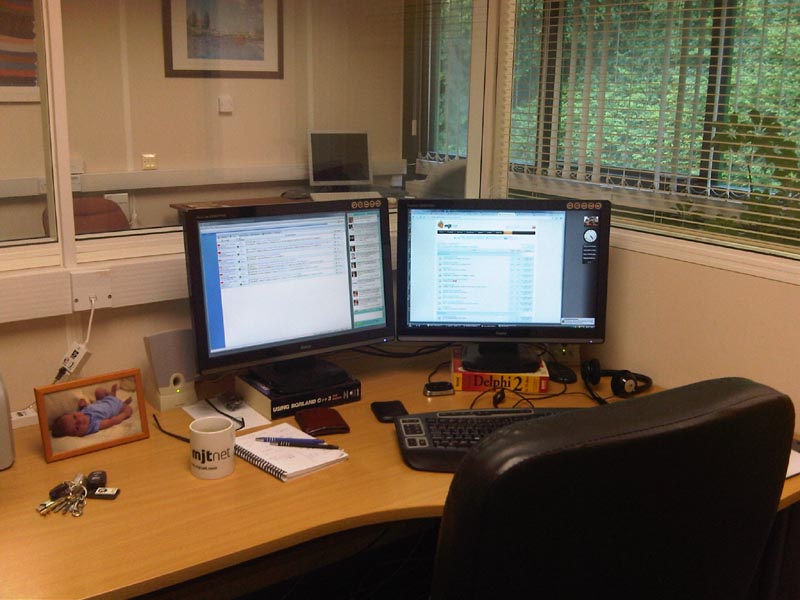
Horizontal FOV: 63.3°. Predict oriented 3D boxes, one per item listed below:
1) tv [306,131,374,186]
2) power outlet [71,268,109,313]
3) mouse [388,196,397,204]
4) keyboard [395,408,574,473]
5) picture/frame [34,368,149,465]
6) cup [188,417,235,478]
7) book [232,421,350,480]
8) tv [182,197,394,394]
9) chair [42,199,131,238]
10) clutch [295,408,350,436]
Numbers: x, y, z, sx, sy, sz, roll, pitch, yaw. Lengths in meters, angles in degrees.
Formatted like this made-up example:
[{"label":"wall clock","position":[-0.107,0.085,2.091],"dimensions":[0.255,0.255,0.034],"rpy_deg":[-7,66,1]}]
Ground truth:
[{"label":"tv","position":[-0.209,-0.478,2.191],"dimensions":[0.247,0.176,0.025],"rpy_deg":[-13,20,-35]},{"label":"power outlet","position":[-0.821,-0.032,1.739],"dimensions":[0.110,0.098,0.105],"rpy_deg":[-6,20,-23]},{"label":"mouse","position":[-0.031,-0.349,2.291],"dimensions":[0.046,0.033,0.044],"rpy_deg":[0,12,-1]},{"label":"keyboard","position":[0.260,0.351,1.703],"dimensions":[0.519,0.055,0.263],"rpy_deg":[-2,15,-6]},{"label":"picture/frame","position":[-0.766,0.285,1.613],"dimensions":[0.023,0.178,0.257],"rpy_deg":[-5,2,41]},{"label":"cup","position":[-0.442,0.350,1.573],"dimensions":[0.120,0.130,0.118],"rpy_deg":[6,17,-2]},{"label":"book","position":[-0.272,0.380,1.606],"dimensions":[0.381,0.044,0.179],"rpy_deg":[8,14,34]},{"label":"tv","position":[-0.322,-0.051,1.815],"dimensions":[0.619,0.502,0.248],"rpy_deg":[-8,19,-35]},{"label":"chair","position":[-0.899,-0.256,1.902],"dimensions":[0.209,0.101,0.193],"rpy_deg":[18,20,40]},{"label":"clutch","position":[-0.211,0.326,1.724],"dimensions":[0.083,0.020,0.085],"rpy_deg":[-2,19,-13]}]
